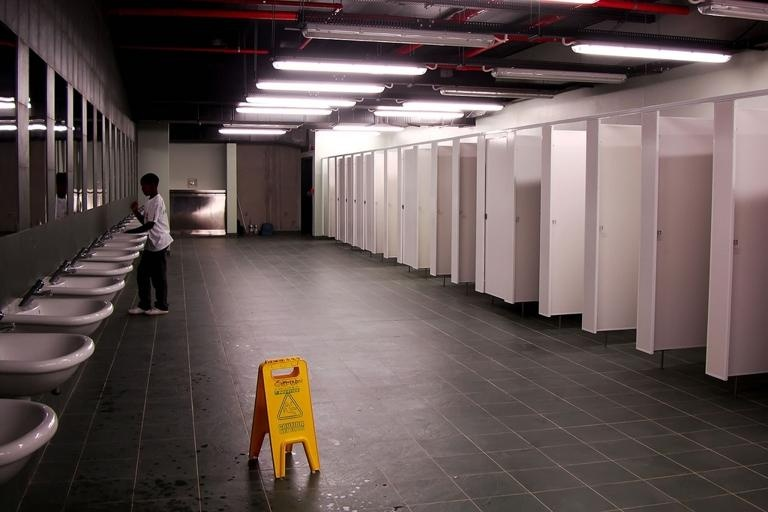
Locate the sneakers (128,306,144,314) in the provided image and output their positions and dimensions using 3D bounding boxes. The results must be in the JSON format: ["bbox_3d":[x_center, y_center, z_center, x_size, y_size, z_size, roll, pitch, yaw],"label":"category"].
[{"bbox_3d":[-3.673,0.825,8.049,0.265,0.088,0.127,5,1,10],"label":"sneakers"}]

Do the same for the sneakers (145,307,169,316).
[{"bbox_3d":[-3.304,0.826,7.950,0.351,0.108,0.113,4,-4,-12],"label":"sneakers"}]
